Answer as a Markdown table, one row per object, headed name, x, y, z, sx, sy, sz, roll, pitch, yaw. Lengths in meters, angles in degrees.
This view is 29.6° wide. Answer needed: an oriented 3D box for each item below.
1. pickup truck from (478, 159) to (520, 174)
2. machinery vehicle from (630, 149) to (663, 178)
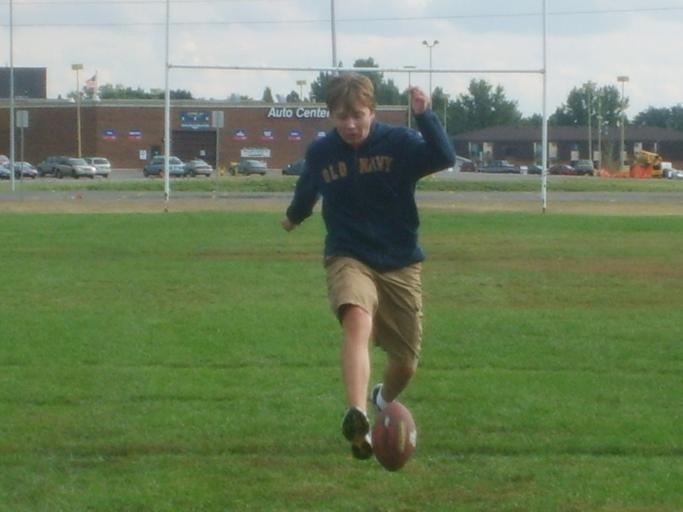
| name | x | y | z | sx | sy | sz | roll | pitch | yaw |
| --- | --- | --- | --- | --- | --- | --- | --- | --- | --- |
| pickup truck | 9.263 | -4.999 | 75.020 | 2.677 | 0.856 | 1.271 | 0 | 9 | 9 |
| machinery vehicle | 18.008 | -5.433 | 74.716 | 1.557 | 2.031 | 4.213 | 1 | 3 | 10 |
